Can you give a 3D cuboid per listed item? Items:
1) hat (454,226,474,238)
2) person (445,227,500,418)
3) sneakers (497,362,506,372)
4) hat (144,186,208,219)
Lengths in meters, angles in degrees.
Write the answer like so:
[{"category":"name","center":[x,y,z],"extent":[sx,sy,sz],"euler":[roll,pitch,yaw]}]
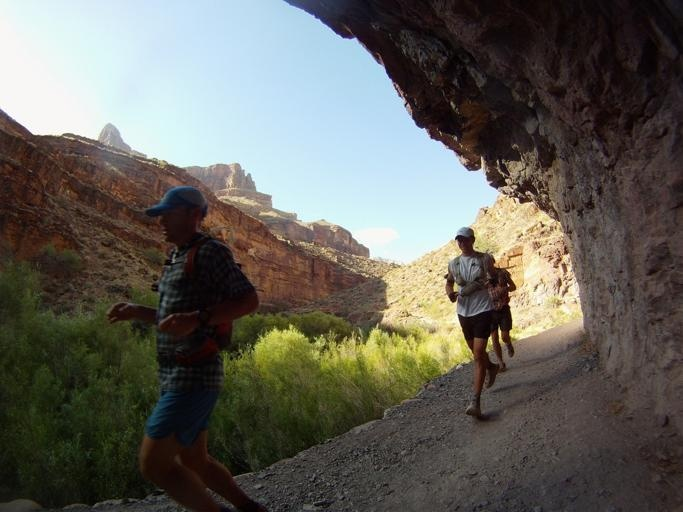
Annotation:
[{"category":"hat","center":[1.448,-0.258,4.792],"extent":[0.141,0.111,0.205],"euler":[-10,-34,39]},{"category":"person","center":[1.677,0.798,5.129],"extent":[0.584,2.425,1.007],"euler":[-11,-1,18]},{"category":"sneakers","center":[2.576,1.752,6.552],"extent":[0.084,0.141,0.178],"euler":[15,23,36]},{"category":"hat","center":[-1.409,-0.398,3.486],"extent":[0.435,0.251,0.278],"euler":[3,-2,-33]}]
